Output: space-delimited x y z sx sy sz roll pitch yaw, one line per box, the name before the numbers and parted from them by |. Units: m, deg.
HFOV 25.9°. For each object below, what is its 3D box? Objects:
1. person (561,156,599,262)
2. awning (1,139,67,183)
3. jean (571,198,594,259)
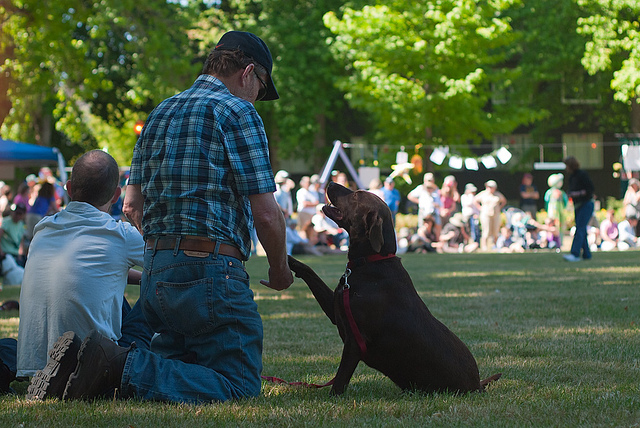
person | 7.629 -0.255 40.715 0.913 3.117 1.515 -3 -4 11
awning | -8.997 -1.986 44.020 0.707 0.698 2.830 -4 -5 25
jean | 7.694 0.357 40.329 0.500 1.659 0.587 5 -1 -13
